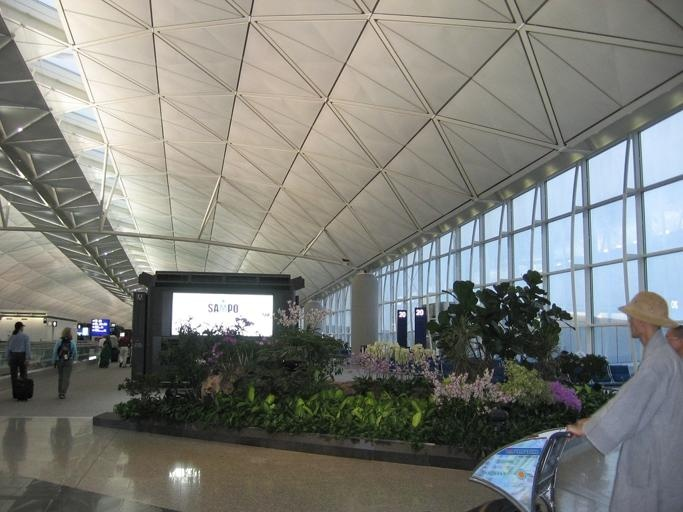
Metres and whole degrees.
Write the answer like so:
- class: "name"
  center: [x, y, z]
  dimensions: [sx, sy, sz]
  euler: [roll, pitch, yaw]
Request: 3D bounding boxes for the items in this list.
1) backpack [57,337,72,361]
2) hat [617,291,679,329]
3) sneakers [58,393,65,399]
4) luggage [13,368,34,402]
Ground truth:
- class: "backpack"
  center: [-8.571, 2.895, 13.968]
  dimensions: [0.477, 0.663, 0.361]
  euler: [13, -40, -35]
- class: "hat"
  center: [2.435, 0.425, 3.598]
  dimensions: [0.353, 0.149, 0.350]
  euler: [6, 3, 26]
- class: "sneakers"
  center: [-8.507, 4.248, 13.740]
  dimensions: [0.154, 0.108, 0.141]
  euler: [7, -2, -13]
- class: "luggage"
  center: [-9.381, 3.896, 13.260]
  dimensions: [0.490, 0.613, 0.447]
  euler: [8, -13, -34]
